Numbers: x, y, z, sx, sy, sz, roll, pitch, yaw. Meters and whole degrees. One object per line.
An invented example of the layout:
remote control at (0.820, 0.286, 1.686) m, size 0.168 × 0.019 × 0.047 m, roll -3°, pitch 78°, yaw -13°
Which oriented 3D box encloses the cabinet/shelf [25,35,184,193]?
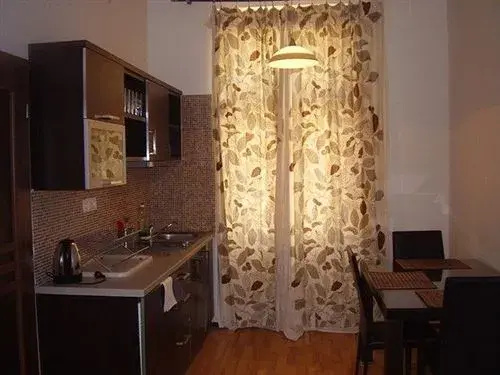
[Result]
cabinet/shelf at (-1.052, -0.563, 3.238) m, size 0.506 × 1.008 × 1.363 m, roll 3°, pitch 10°, yaw 23°

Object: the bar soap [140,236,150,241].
bar soap at (-1.024, 0.491, 3.983) m, size 0.049 × 0.038 × 0.055 m, roll -1°, pitch -1°, yaw 5°
